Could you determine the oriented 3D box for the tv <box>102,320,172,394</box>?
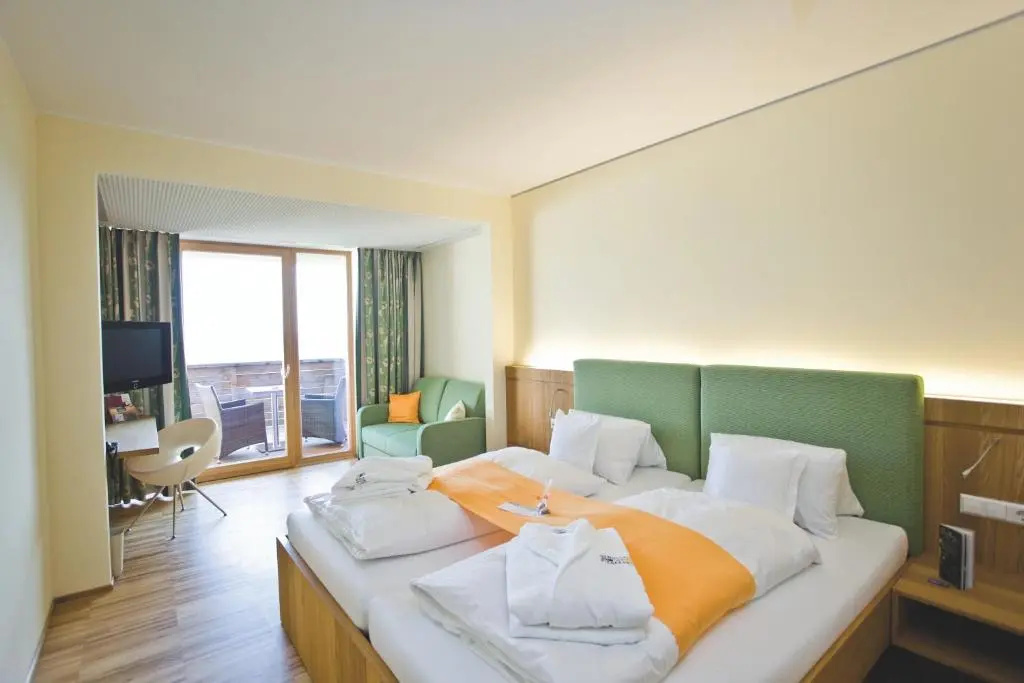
[{"bbox_3d":[-3.139,0.135,5.441,0.777,0.538,0.078,-3,-1,19],"label":"tv"}]

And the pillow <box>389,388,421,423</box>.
[{"bbox_3d":[-1.180,0.722,7.123,0.356,0.338,0.120,-1,-28,-3],"label":"pillow"}]

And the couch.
[{"bbox_3d":[-0.942,0.938,6.676,0.831,1.011,1.455,-4,6,-34],"label":"couch"}]

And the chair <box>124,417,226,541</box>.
[{"bbox_3d":[-2.971,1.145,5.692,0.761,0.913,0.698,1,5,19],"label":"chair"}]
